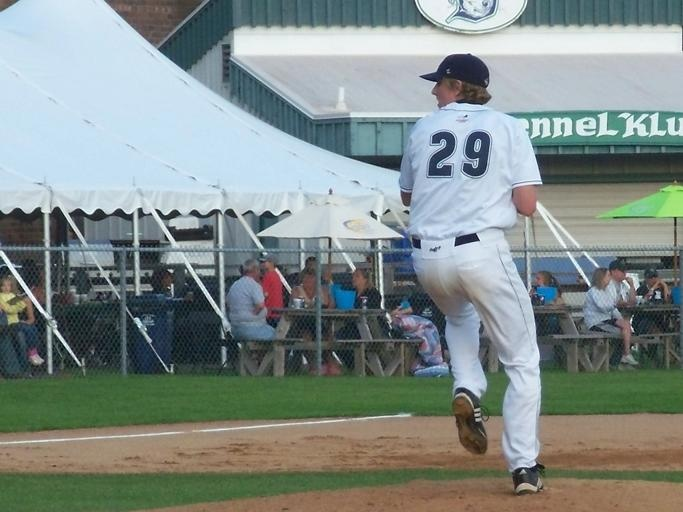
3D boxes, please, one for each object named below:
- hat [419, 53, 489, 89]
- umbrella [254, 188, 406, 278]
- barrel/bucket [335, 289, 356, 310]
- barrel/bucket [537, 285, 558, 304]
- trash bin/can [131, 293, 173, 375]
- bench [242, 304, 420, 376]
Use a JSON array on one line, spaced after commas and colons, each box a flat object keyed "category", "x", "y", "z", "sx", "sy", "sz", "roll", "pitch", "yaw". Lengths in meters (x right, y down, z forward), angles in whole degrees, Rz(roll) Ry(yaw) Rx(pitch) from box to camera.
[{"category": "hat", "x": 1.711, "y": -2.695, "z": 29.974, "sx": 0.692, "sy": 0.407, "sz": 0.459, "roll": 13, "pitch": 8, "yaw": 7}, {"category": "umbrella", "x": -0.163, "y": -0.521, "z": 36.303, "sx": 1.435, "sy": 0.835, "sz": 1.500, "roll": -4, "pitch": 6, "yaw": -24}, {"category": "barrel/bucket", "x": 0.040, "y": 0.746, "z": 36.129, "sx": 0.318, "sy": 0.278, "sz": 0.310, "roll": 0, "pitch": -1, "yaw": 0}, {"category": "barrel/bucket", "x": 3.618, "y": 0.660, "z": 36.902, "sx": 0.284, "sy": 0.316, "sz": 0.207, "roll": 1, "pitch": 3, "yaw": -19}, {"category": "trash bin/can", "x": -3.320, "y": 1.384, "z": 36.050, "sx": 0.773, "sy": 1.285, "sz": 0.479, "roll": 0, "pitch": -4, "yaw": -6}, {"category": "bench", "x": -0.227, "y": 1.487, "z": 36.038, "sx": 2.975, "sy": 1.221, "sz": 1.360, "roll": -1, "pitch": -4, "yaw": 2}]
